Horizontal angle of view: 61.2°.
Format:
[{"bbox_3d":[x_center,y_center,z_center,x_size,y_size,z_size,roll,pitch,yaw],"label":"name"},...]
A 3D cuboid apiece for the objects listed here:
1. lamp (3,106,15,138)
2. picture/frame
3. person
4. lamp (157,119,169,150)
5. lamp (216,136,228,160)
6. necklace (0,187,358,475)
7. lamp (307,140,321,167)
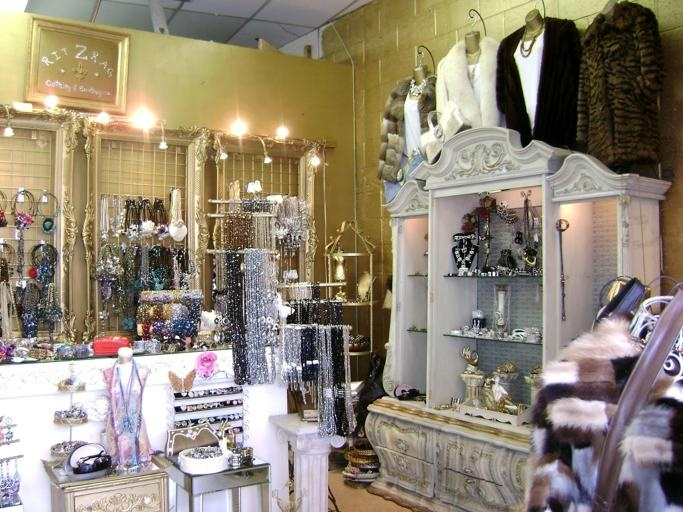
[{"bbox_3d":[-2.917,-1.180,5.061,0.079,0.290,0.152,-3,1,-31],"label":"lamp"},{"bbox_3d":[-2.450,-1.739,5.295,0.926,0.943,0.094,2,4,-27],"label":"picture/frame"},{"bbox_3d":[1.354,-1.246,4.713,2.271,0.974,0.451,-2,1,42],"label":"person"},{"bbox_3d":[-1.728,-1.185,5.585,0.089,0.273,0.314,-2,1,-17],"label":"lamp"},{"bbox_3d":[-1.211,-1.098,5.844,0.116,0.232,0.237,-2,1,-11],"label":"lamp"},{"bbox_3d":[-1.326,0.540,4.313,2.491,2.584,1.302,-1,1,-25],"label":"necklace"},{"bbox_3d":[-0.287,-1.120,6.310,0.155,0.240,0.092,-6,6,-23],"label":"lamp"}]
